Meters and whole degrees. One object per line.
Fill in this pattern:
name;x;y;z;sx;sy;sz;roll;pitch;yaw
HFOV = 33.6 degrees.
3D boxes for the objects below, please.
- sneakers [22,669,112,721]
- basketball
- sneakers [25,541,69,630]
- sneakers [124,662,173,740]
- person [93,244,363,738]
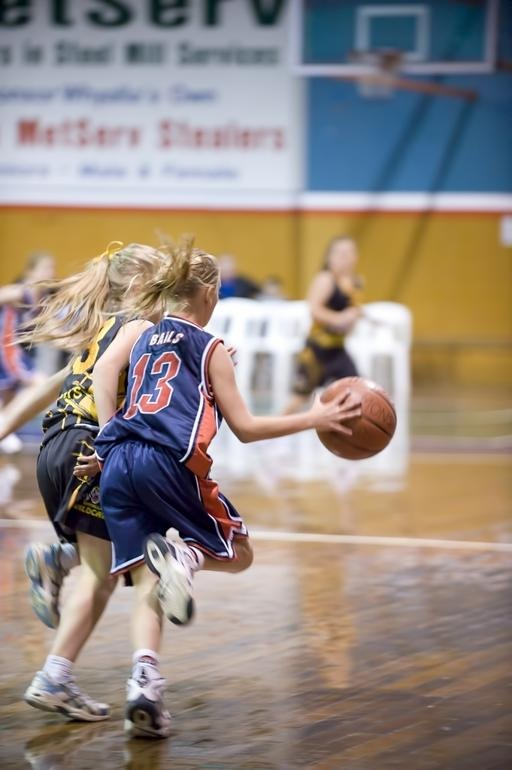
sneakers;-0.473;0.795;2.135;0.232;0.077;0.090;28;49;-29
basketball;0.305;0.106;2.525;0.274;0.220;0.258;15;-11;-26
sneakers;-0.587;0.568;2.472;0.146;0.262;0.096;-10;5;2
sneakers;-0.254;0.748;1.991;0.103;0.240;0.126;2;27;-5
person;-0.195;0.282;2.208;0.503;0.874;0.907;19;29;27
